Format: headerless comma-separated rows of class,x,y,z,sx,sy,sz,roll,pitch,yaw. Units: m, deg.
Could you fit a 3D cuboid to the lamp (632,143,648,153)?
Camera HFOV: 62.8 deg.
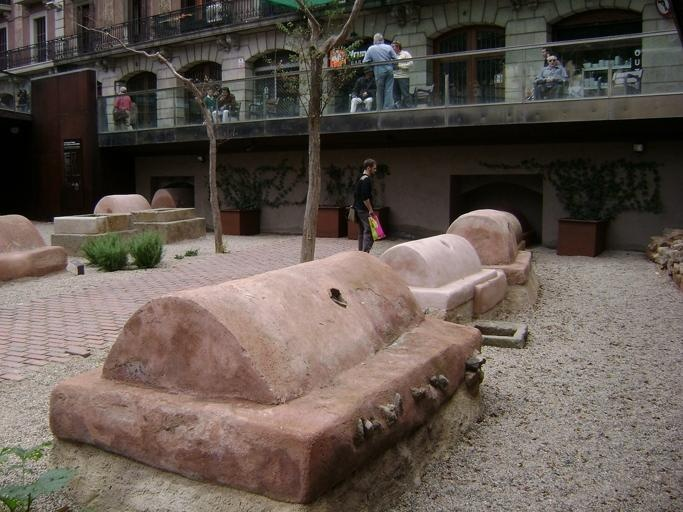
lamp,6.656,-2.436,12.512,0.270,0.209,0.253,7,14,29

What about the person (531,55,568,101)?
person,4.320,-3.696,11.558,0.671,0.852,0.188,5,13,23

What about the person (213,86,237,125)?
person,-3.273,-4.311,15.666,0.707,1.033,0.732,1,1,6

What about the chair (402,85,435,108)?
chair,1.783,-3.695,12.948,0.502,0.784,0.472,5,6,38

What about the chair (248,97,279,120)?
chair,-2.087,-3.986,14.996,0.443,0.967,0.854,3,7,21

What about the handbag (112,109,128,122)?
handbag,-7.267,-4.634,18.361,0.432,0.416,0.424,-9,20,7

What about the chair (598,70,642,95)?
chair,5.582,-3.436,10.954,0.546,0.456,0.179,8,14,33

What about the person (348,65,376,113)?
person,0.514,-3.886,13.332,0.496,1.338,0.699,11,10,18
